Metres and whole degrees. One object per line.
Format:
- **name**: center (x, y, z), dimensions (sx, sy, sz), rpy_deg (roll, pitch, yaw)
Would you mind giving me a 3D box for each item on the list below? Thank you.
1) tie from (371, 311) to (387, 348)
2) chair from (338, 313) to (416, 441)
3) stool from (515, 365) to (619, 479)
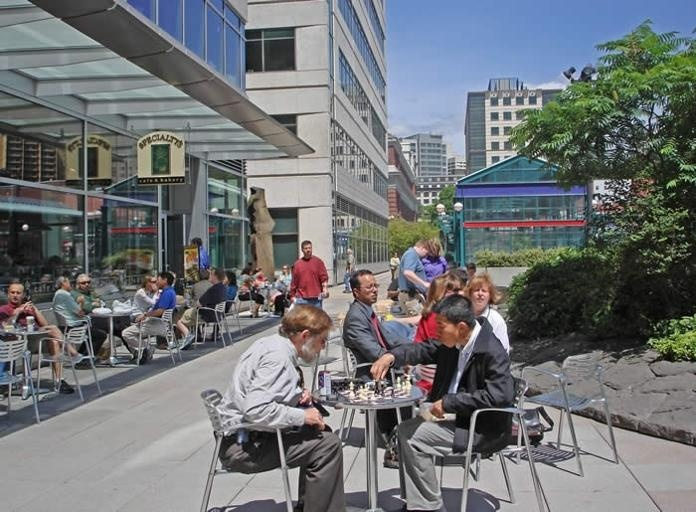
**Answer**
- **tie**: center (0.426, 0.885, 7.947), dimensions (0.085, 0.380, 0.264), rpy_deg (-20, 2, -3)
- **chair**: center (0.344, 1.289, 8.024), dimensions (0.775, 1.666, 0.767), rpy_deg (0, 0, 10)
- **stool**: center (2.697, 1.761, 8.047), dimensions (1.134, 1.648, 1.286), rpy_deg (-3, -4, 43)
